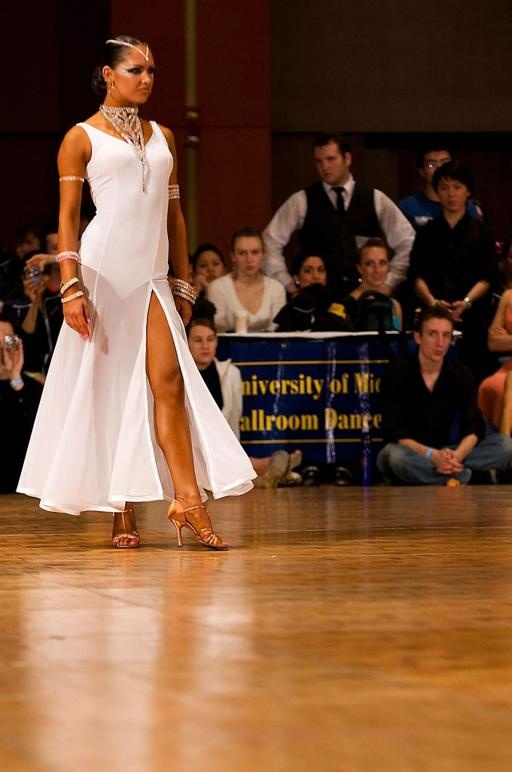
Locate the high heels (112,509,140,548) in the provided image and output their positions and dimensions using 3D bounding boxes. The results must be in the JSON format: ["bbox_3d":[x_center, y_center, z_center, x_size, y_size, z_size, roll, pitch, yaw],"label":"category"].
[{"bbox_3d":[-0.416,0.450,2.581,0.084,0.122,0.157,-1,6,-10],"label":"high heels"}]

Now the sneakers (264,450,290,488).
[{"bbox_3d":[0.123,0.474,4.959,0.103,0.257,0.109,9,12,8],"label":"sneakers"}]

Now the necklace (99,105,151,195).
[{"bbox_3d":[-0.426,-0.763,2.625,0.146,0.279,0.111,-1,6,-13],"label":"necklace"}]

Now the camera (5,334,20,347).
[{"bbox_3d":[-1.467,-0.267,4.896,0.061,0.072,0.077,17,16,-32],"label":"camera"}]

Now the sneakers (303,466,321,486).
[{"bbox_3d":[0.350,0.566,5.144,0.112,0.104,0.101,-3,8,-13],"label":"sneakers"}]

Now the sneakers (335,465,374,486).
[{"bbox_3d":[0.621,0.563,5.137,0.239,0.109,0.120,1,6,5],"label":"sneakers"}]

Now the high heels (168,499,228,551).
[{"bbox_3d":[-0.192,0.429,2.522,0.266,0.169,0.093,2,3,35],"label":"high heels"}]

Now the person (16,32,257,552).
[{"bbox_3d":[-0.399,-0.317,2.618,0.762,1.642,0.515,0,6,2],"label":"person"}]
